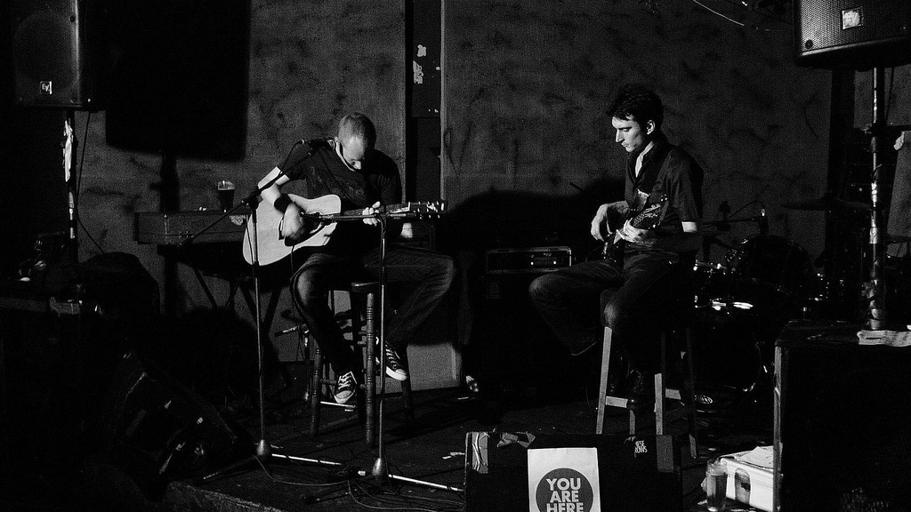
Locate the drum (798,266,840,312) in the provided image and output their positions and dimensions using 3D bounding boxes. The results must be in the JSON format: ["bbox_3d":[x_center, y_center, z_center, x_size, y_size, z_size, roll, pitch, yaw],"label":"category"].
[{"bbox_3d":[3.130,0.309,7.876,0.300,0.384,0.815,0,-3,25],"label":"drum"}]

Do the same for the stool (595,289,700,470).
[{"bbox_3d":[1.562,0.933,7.442,0.791,1.295,1.399,0,-3,12],"label":"stool"}]

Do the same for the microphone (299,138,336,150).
[{"bbox_3d":[-1.157,-0.939,7.641,0.218,0.048,0.148,-2,-1,5],"label":"microphone"}]

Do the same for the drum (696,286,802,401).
[{"bbox_3d":[2.437,0.733,7.754,0.867,1.046,0.427,0,-3,22],"label":"drum"}]

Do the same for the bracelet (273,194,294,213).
[{"bbox_3d":[-1.410,-0.426,7.588,0.168,0.129,0.069,-38,-25,11],"label":"bracelet"}]

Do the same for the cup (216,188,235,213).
[{"bbox_3d":[-1.940,-0.484,7.863,0.209,0.214,0.205,0,-4,0],"label":"cup"}]
